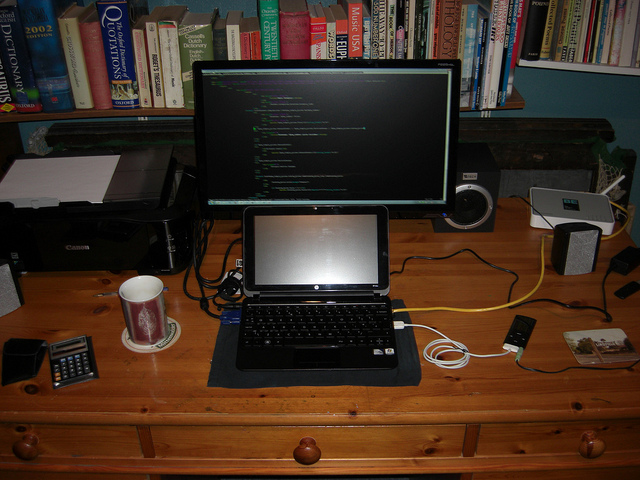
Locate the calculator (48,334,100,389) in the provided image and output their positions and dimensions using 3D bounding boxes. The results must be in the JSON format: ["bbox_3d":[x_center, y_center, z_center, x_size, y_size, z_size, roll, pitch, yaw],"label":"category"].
[{"bbox_3d":[-0.618,0.300,1.301,0.104,0.072,0.142,-11,23,-22],"label":"calculator"}]

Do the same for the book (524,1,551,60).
[{"bbox_3d":[0.710,-0.693,1.699,0.140,0.119,0.031,-12,27,-38],"label":"book"}]

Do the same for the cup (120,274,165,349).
[{"bbox_3d":[-0.470,0.172,1.381,0.118,0.156,0.174,-10,33,-17],"label":"cup"}]

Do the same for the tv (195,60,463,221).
[{"bbox_3d":[0.015,-0.293,1.441,0.608,0.296,0.024,0,23,1],"label":"tv"}]

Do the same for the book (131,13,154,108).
[{"bbox_3d":[-0.582,-0.584,1.684,0.057,0.187,0.208,-7,25,-18],"label":"book"}]

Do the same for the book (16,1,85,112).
[{"bbox_3d":[-0.813,-0.558,1.565,0.168,0.280,0.078,-15,40,-27],"label":"book"}]

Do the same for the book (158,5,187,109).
[{"bbox_3d":[-0.455,-0.537,1.600,0.073,0.260,0.027,-7,24,-11],"label":"book"}]

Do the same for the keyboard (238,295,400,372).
[{"bbox_3d":[-0.006,0.236,1.353,0.404,0.108,0.208,-1,21,0],"label":"keyboard"}]

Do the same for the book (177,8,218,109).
[{"bbox_3d":[-0.369,-0.560,1.606,0.113,0.275,0.212,0,38,-5],"label":"book"}]

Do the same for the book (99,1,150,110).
[{"bbox_3d":[-0.601,-0.569,1.587,0.143,0.341,0.365,-2,2,-16],"label":"book"}]

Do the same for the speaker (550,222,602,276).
[{"bbox_3d":[0.758,0.025,1.561,0.122,0.138,0.098,-13,24,-23],"label":"speaker"}]

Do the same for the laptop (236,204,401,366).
[{"bbox_3d":[0.001,0.169,1.462,0.525,0.310,0.388,-1,51,0],"label":"laptop"}]

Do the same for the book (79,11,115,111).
[{"bbox_3d":[-0.682,-0.562,1.588,0.115,0.256,0.275,-3,-6,-15],"label":"book"}]
